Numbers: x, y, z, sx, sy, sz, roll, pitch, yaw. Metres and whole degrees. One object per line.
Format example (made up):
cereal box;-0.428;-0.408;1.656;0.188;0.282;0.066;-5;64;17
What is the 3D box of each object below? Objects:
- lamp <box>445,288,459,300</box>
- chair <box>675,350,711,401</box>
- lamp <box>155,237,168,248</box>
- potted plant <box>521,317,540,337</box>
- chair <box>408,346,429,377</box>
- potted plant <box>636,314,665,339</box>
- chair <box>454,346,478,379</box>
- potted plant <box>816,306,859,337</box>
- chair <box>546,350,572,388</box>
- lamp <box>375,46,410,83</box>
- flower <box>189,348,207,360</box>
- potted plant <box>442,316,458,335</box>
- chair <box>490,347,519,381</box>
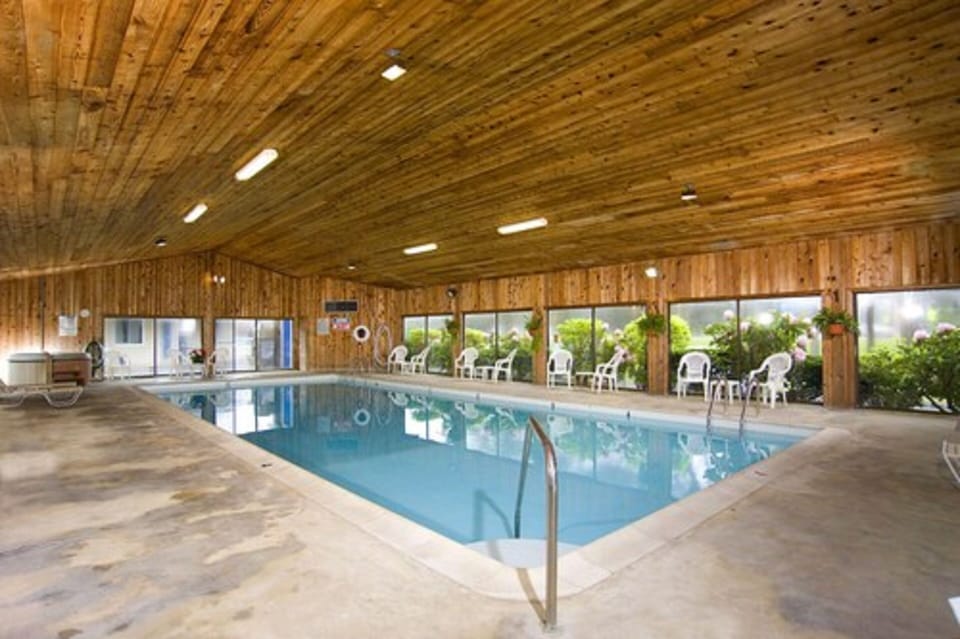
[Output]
lamp;-0.869;-0.777;16.125;0.440;0.362;0.341;6;10;32
chair;4.319;1.104;10.987;0.913;1.177;0.971;-3;-9;27
lamp;-7.121;-1.719;12.117;0.272;0.115;0.371;3;-4;-38
potted plant;1.298;0.199;13.965;0.456;0.452;0.439;4;0;16
chair;-1.972;1.347;17.277;0.899;1.089;0.700;1;-4;-7
potted plant;3.662;0.128;11.751;0.520;0.333;0.492;1;-1;-16
chair;-0.423;1.250;15.614;0.787;1.118;0.878;-2;-7;20
potted plant;6.328;0.044;9.707;0.549;0.368;0.559;1;-4;-26
chair;1.932;1.190;13.188;0.800;1.062;0.863;-1;-5;12
lamp;-0.860;-2.514;5.382;0.191;0.167;0.145;-11;-18;41
flower;-8.049;1.026;15.524;0.464;0.391;0.443;-3;0;-23
potted plant;-0.892;0.195;16.273;0.534;0.495;0.483;0;2;-8
chair;0.637;1.246;14.808;0.867;1.058;0.753;3;-7;-11
